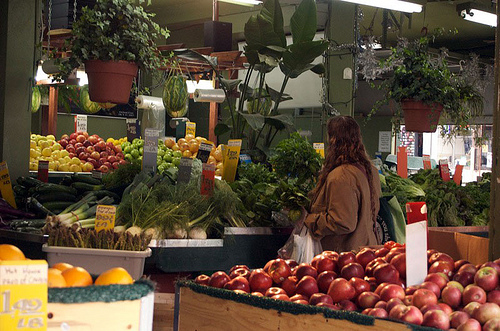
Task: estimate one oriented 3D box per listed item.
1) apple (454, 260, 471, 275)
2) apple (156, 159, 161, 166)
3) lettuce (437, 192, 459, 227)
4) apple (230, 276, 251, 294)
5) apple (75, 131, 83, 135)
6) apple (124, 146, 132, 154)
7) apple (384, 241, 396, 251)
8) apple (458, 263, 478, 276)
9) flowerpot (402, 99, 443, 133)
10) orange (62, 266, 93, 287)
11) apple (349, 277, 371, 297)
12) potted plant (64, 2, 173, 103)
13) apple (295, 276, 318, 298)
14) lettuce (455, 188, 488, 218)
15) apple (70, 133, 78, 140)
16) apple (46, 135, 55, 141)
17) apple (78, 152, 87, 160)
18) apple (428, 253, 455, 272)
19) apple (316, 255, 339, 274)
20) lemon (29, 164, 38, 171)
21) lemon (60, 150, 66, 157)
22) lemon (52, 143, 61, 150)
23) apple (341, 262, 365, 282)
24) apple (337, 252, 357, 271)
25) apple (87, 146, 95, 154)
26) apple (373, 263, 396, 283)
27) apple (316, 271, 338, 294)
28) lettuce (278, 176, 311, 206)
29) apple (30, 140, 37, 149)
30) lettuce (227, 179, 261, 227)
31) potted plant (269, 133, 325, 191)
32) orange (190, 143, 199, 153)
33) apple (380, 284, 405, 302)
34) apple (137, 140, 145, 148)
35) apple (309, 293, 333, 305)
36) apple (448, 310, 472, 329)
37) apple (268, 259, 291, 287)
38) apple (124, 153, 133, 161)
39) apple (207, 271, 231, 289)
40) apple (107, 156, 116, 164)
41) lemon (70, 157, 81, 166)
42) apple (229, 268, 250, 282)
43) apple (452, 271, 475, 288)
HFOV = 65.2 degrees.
[{"bbox_3d":[1.042,0.496,1.919,0.055,0.060,0.072,15,47,19],"label":"apple"},{"bbox_3d":[-1.033,-0.036,4.408,0.062,0.055,0.072,3,-10,-16],"label":"apple"},{"bbox_3d":[2.443,0.557,4.843,0.252,0.429,0.103,25,-27,-16],"label":"lettuce"},{"bbox_3d":[-0.048,0.557,1.840,0.068,0.068,0.068,16,11,-3],"label":"apple"},{"bbox_3d":[-2.437,-0.473,5.580,0.104,0.082,0.137,1,4,-8],"label":"apple"},{"bbox_3d":[-1.571,-0.206,5.009,0.072,0.093,0.071,-6,13,-39],"label":"apple"},{"bbox_3d":[0.806,0.456,2.263,0.051,0.054,0.053,25,9,-8],"label":"apple"},{"bbox_3d":[1.024,0.487,1.820,0.052,0.049,0.046,-11,-11,10],"label":"apple"},{"bbox_3d":[2.179,-0.638,4.962,0.409,0.335,0.427,5,-4,-11],"label":"flowerpot"},{"bbox_3d":[-0.564,0.357,1.274,0.071,0.093,0.073,9,-11,-35],"label":"orange"},{"bbox_3d":[0.501,0.555,1.785,0.069,0.087,0.064,14,-11,-40],"label":"apple"},{"bbox_3d":[-1.226,-0.965,3.782,1.007,1.104,0.878,3,-5,-32],"label":"potted plant"},{"bbox_3d":[0.265,0.562,1.818,0.074,0.087,0.080,0,16,-8],"label":"apple"},{"bbox_3d":[2.822,0.498,5.170,0.432,0.340,0.401,-3,-14,-44],"label":"lettuce"},{"bbox_3d":[-2.460,-0.410,5.466,0.088,0.096,0.155,0,0,-41],"label":"apple"},{"bbox_3d":[-2.657,-0.367,5.200,0.072,0.094,0.071,9,-4,-39],"label":"apple"},{"bbox_3d":[-2.187,-0.128,5.105,0.085,0.093,0.085,11,15,40],"label":"apple"},{"bbox_3d":[0.940,0.452,1.918,0.080,0.091,0.084,-9,14,-42],"label":"apple"},{"bbox_3d":[0.396,0.492,1.999,0.082,0.092,0.084,2,1,-18],"label":"apple"},{"bbox_3d":[-2.517,0.018,4.536,0.076,0.082,0.140,0,1,-26],"label":"lemon"},{"bbox_3d":[-2.392,-0.155,4.991,0.065,0.092,0.088,0,0,-22],"label":"lemon"},{"bbox_3d":[-2.489,-0.250,5.013,0.096,0.088,0.052,0,0,-31],"label":"lemon"},{"bbox_3d":[0.500,0.512,1.902,0.076,0.082,0.077,-14,-1,-13],"label":"apple"},{"bbox_3d":[0.490,0.487,1.981,0.077,0.084,0.081,-2,-10,2],"label":"apple"},{"bbox_3d":[-2.133,-0.222,5.247,0.076,0.095,0.076,32,-1,-31],"label":"apple"},{"bbox_3d":[0.631,0.508,1.838,0.103,0.090,0.056,1,0,20],"label":"apple"},{"bbox_3d":[0.361,0.558,1.858,0.082,0.089,0.087,-17,-32,37],"label":"apple"},{"bbox_3d":[0.402,0.224,3.426,0.224,0.178,0.220,6,12,-41],"label":"lettuce"},{"bbox_3d":[-2.659,-0.258,4.776,0.084,0.069,0.068,-42,-3,-38],"label":"apple"},{"bbox_3d":[-0.058,0.346,3.648,0.148,0.419,0.268,-6,-20,43],"label":"lettuce"},{"bbox_3d":[0.443,-0.056,3.608,0.436,0.513,0.468,-4,15,-45],"label":"potted plant"},{"bbox_3d":[-0.696,-0.223,4.847,0.087,0.100,0.111,-8,19,-8],"label":"orange"},{"bbox_3d":[0.617,0.551,1.694,0.100,0.041,0.063,1,1,22],"label":"apple"},{"bbox_3d":[-1.379,-0.273,4.896,0.083,0.083,0.098,-14,8,43],"label":"apple"},{"bbox_3d":[0.310,0.580,1.710,0.056,0.061,0.059,-6,-12,-3],"label":"apple"},{"bbox_3d":[0.827,0.598,1.538,0.059,0.060,0.058,-7,3,-21],"label":"apple"},{"bbox_3d":[0.138,0.525,1.996,0.093,0.108,0.100,-3,-8,43],"label":"apple"},{"bbox_3d":[-1.553,-0.112,4.970,0.077,0.062,0.106,10,11,-3],"label":"apple"},{"bbox_3d":[-0.152,0.554,1.905,0.119,0.063,0.122,1,1,-6],"label":"apple"},{"bbox_3d":[-1.837,-0.085,5.164,0.078,0.084,0.086,5,44,17],"label":"apple"},{"bbox_3d":[-2.186,-0.058,4.882,0.083,0.111,0.088,0,1,33],"label":"lemon"},{"bbox_3d":[-0.050,0.552,1.984,0.053,0.056,0.052,1,3,-43],"label":"apple"},{"bbox_3d":[0.957,0.505,1.761,0.059,0.063,0.058,7,6,-45],"label":"apple"}]
